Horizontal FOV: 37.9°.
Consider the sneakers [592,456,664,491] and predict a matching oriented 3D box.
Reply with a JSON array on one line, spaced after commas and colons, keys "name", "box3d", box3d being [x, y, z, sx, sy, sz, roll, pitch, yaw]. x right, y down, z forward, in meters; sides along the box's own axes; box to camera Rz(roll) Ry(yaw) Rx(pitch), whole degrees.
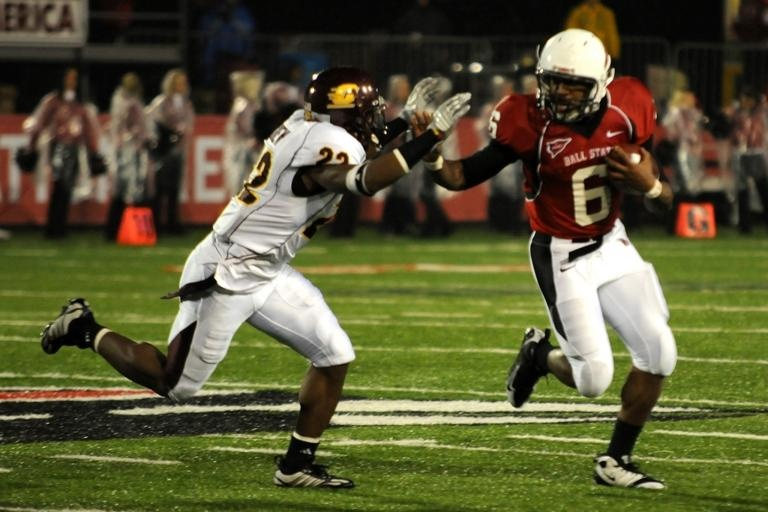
[{"name": "sneakers", "box3d": [1.326, 1.202, 6.160, 0.463, 0.155, 0.137, 2, -4, 6]}]

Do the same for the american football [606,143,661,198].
[{"name": "american football", "box3d": [1.446, -0.523, 6.381, 0.282, 0.241, 0.336, -20, -23, 25]}]

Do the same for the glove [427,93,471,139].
[{"name": "glove", "box3d": [0.355, -0.789, 6.269, 0.225, 0.238, 0.265, 1, 10, 8]}]
